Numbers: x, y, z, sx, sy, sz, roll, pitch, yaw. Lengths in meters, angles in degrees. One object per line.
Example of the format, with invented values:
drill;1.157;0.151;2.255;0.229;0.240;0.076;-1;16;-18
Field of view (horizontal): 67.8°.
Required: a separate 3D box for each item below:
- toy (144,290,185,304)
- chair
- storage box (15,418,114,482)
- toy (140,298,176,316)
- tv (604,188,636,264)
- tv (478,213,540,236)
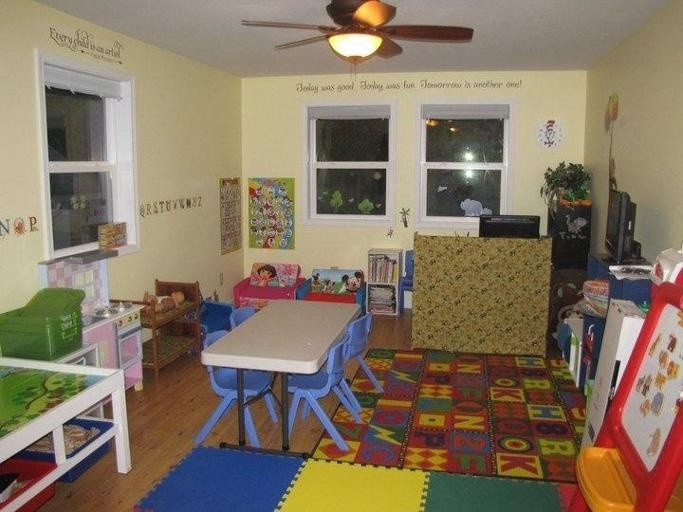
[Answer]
toy;-1.877;0.447;5.471;0.291;0.122;0.177;1;4;-29
chair;-0.433;0.794;4.169;1.044;0.623;1.331;1;10;15
storage box;-1.903;1.329;3.634;0.456;0.154;0.457;1;5;14
toy;-1.905;0.506;5.311;0.273;0.127;0.175;-2;6;-15
tv;2.640;-0.280;4.814;0.257;0.708;0.725;-1;6;13
tv;1.906;-0.345;5.795;0.644;0.237;0.203;2;13;8
